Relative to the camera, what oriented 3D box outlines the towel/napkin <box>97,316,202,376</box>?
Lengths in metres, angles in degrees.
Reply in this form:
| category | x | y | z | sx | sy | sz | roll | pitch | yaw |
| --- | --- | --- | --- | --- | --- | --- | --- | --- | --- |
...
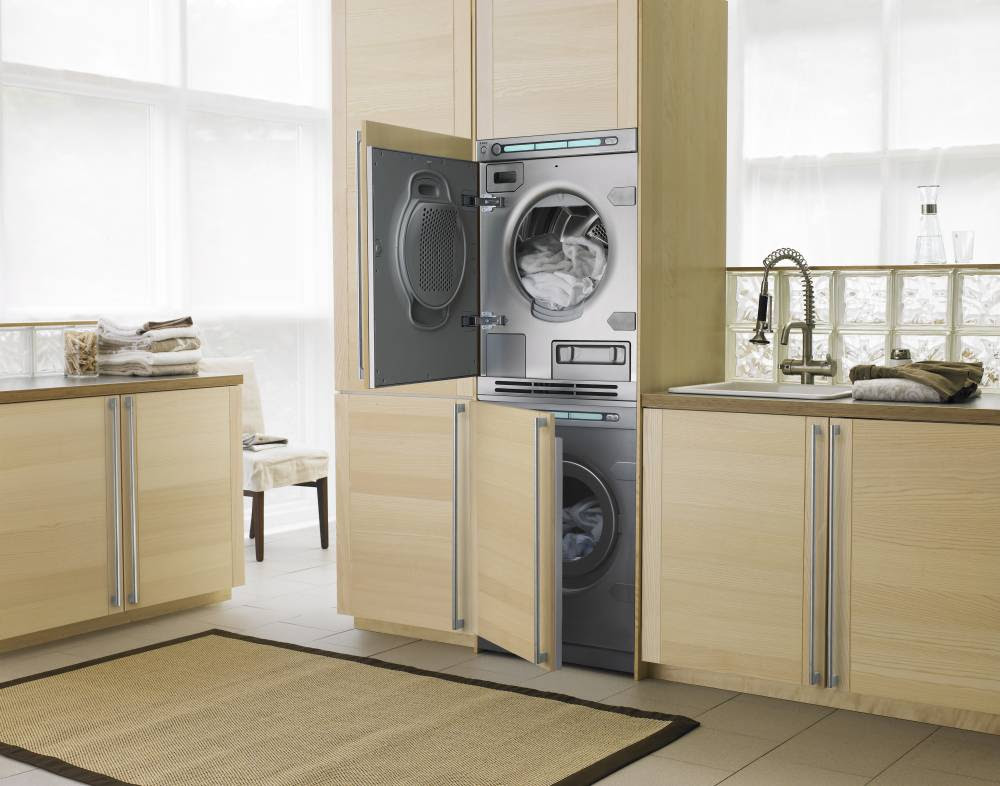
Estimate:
| category | x | y | z | sx | sy | sz | roll | pitch | yaw |
| --- | --- | --- | --- | --- | --- | --- | --- | --- | --- |
| towel/napkin | -1.576 | -0.192 | 3.780 | 0.414 | 0.242 | 0.253 | -1 | 3 | -20 |

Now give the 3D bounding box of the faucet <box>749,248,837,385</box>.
| category | x | y | z | sx | sy | sz | roll | pitch | yaw |
| --- | --- | --- | --- | --- | --- | --- | --- | --- | --- |
| faucet | 1.133 | -0.287 | 3.276 | 0.314 | 0.509 | 0.361 | 1 | 3 | 18 |

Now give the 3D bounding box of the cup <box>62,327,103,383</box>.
| category | x | y | z | sx | sy | sz | roll | pitch | yaw |
| --- | --- | --- | --- | --- | --- | --- | --- | --- | --- |
| cup | -1.831 | -0.170 | 3.690 | 0.140 | 0.204 | 0.169 | -1 | 3 | -23 |
